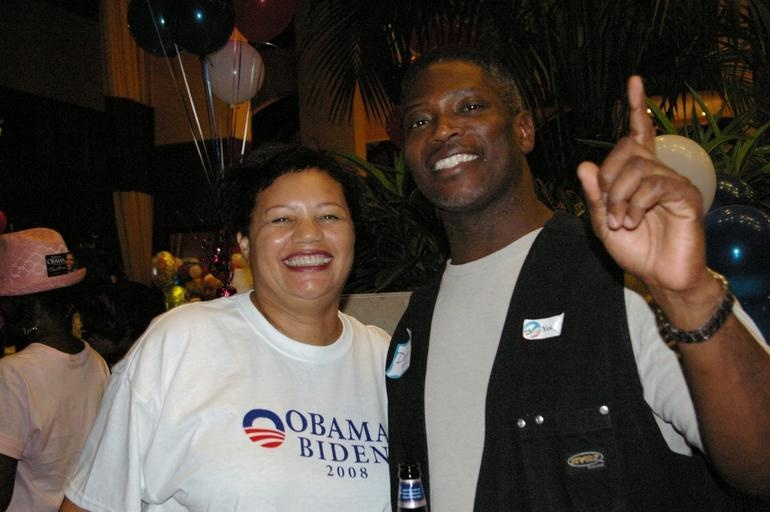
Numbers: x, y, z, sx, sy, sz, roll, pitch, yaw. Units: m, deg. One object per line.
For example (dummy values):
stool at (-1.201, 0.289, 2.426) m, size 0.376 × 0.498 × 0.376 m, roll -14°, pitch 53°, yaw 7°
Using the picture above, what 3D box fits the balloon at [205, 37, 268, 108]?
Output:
balloon at (-1.692, -2.105, 7.017) m, size 0.651 × 0.773 × 0.652 m, roll 5°, pitch 16°, yaw -2°

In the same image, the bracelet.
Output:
bracelet at (1.021, 0.178, 2.009) m, size 0.075 × 0.252 × 0.249 m, roll 35°, pitch -1°, yaw -41°

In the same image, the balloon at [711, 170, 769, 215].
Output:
balloon at (1.977, -0.343, 3.447) m, size 0.304 × 0.181 × 0.415 m, roll 1°, pitch 3°, yaw 29°

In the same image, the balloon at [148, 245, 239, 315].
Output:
balloon at (-1.838, 0.072, 6.007) m, size 0.852 × 0.335 × 0.857 m, roll -1°, pitch 35°, yaw -20°
